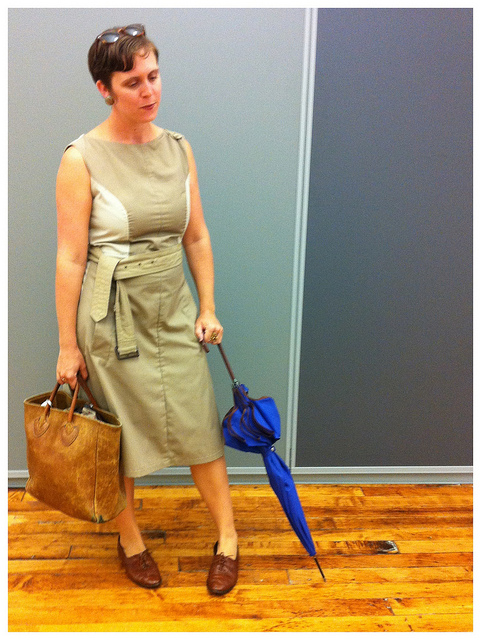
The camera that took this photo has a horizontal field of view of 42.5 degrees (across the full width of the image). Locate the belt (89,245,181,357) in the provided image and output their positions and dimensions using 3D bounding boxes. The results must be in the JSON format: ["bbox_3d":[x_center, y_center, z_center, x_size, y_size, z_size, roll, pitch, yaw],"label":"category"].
[{"bbox_3d":[-0.323,-0.076,1.904,0.309,0.368,0.255,-11,10,-2],"label":"belt"}]

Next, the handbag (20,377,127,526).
[{"bbox_3d":[-0.478,0.345,1.792,0.359,0.400,0.188,11,13,39],"label":"handbag"}]

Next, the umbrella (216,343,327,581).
[{"bbox_3d":[0.072,0.395,1.961,0.210,0.800,0.169,-26,2,7],"label":"umbrella"}]

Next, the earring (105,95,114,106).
[{"bbox_3d":[-0.345,-0.576,1.628,0.021,0.019,0.011,18,34,21],"label":"earring"}]
